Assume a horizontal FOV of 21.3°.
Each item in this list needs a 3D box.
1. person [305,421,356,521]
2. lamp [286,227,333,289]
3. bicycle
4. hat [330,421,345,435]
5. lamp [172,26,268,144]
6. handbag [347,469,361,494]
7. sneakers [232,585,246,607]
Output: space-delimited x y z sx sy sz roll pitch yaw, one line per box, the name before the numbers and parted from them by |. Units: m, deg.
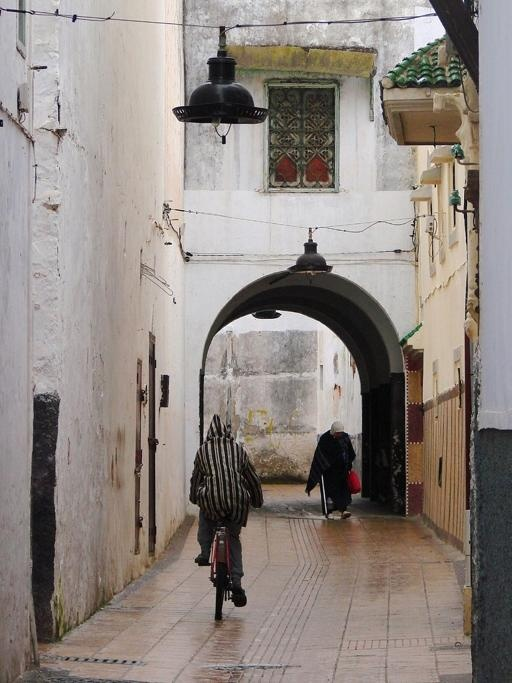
person | 1.113 1.862 19.796 0.641 1.340 0.763 -1 0 5
lamp | 0.759 -1.038 18.142 0.512 0.781 0.655 0 -5 -6
bicycle | -0.262 1.674 10.169 0.259 0.521 0.684 0 -15 0
hat | 1.189 1.270 19.804 0.181 0.193 0.436 -1 0 0
lamp | -0.202 -2.062 12.018 0.739 1.284 0.904 -2 -3 19
handbag | 1.423 2.059 19.802 0.171 0.352 0.775 -1 0 6
sneakers | -0.122 1.887 10.067 0.103 0.174 0.232 -1 0 0
